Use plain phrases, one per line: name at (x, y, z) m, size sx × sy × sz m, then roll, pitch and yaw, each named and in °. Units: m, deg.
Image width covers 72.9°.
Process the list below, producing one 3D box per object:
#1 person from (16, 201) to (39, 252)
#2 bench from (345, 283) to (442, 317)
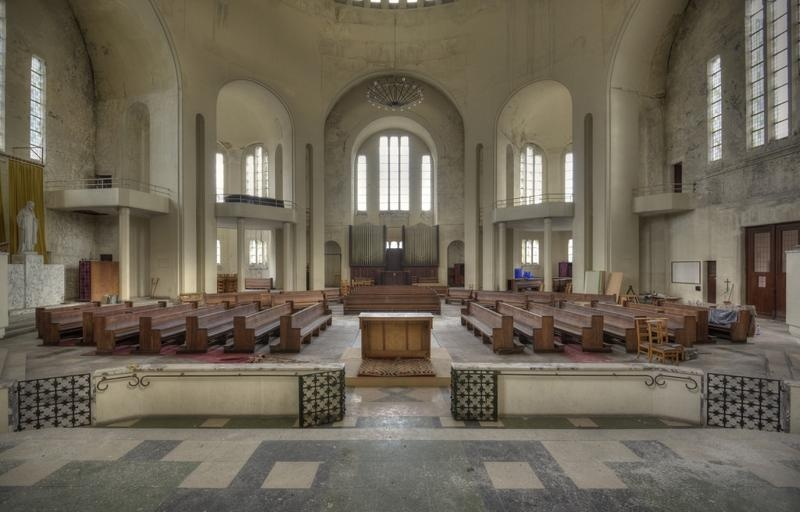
person at (-15.103, -1.158, 21.881) m, size 0.686 × 2.098 × 0.443 m, roll -2°, pitch -1°, yaw -38°
bench at (-0.450, 1.857, 22.598) m, size 3.760 × 0.919 × 3.035 m, roll -2°, pitch -2°, yaw -6°
